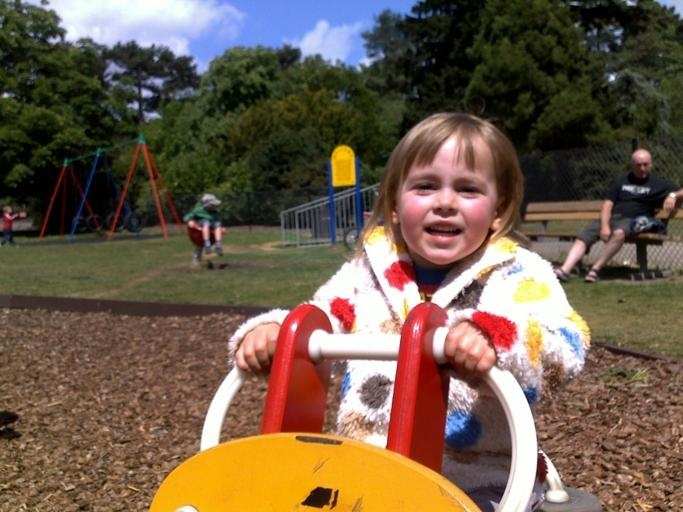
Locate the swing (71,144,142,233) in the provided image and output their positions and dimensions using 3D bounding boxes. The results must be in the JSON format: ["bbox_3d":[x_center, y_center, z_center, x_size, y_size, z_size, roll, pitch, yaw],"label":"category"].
[{"bbox_3d":[-6.884,-1.895,20.622,0.922,2.148,2.843,0,-3,-20],"label":"swing"}]

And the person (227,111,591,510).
[{"bbox_3d":[0.445,0.163,2.832,0.729,1.444,0.952,-8,13,-40],"label":"person"}]

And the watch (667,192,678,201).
[{"bbox_3d":[3.324,-0.609,7.111,0.083,0.067,0.084,-2,9,27],"label":"watch"}]

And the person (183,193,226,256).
[{"bbox_3d":[-1.897,-0.375,9.857,0.463,0.999,0.681,3,-13,-25],"label":"person"}]

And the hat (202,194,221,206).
[{"bbox_3d":[-1.819,-0.771,9.852,0.187,0.158,0.349,-1,10,-6],"label":"hat"}]

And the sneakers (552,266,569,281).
[{"bbox_3d":[1.878,0.153,6.052,0.059,0.136,0.041,-12,35,48],"label":"sneakers"}]
